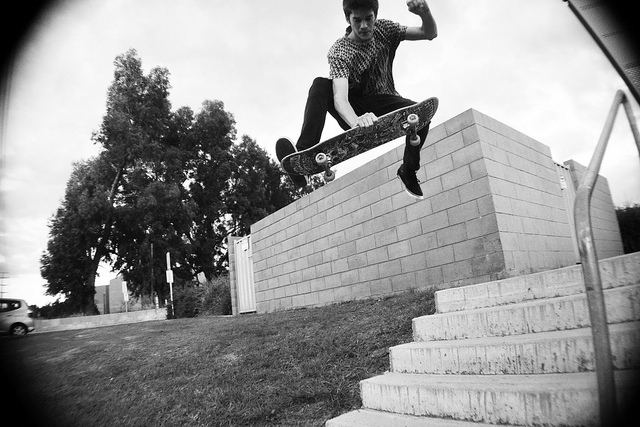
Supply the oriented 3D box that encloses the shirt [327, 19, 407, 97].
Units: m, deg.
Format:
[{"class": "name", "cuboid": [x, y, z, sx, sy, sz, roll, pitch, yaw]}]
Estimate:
[{"class": "shirt", "cuboid": [0.707, -2.159, 6.197, 1.306, 1.333, 0.941, -1, 17, 11]}]
